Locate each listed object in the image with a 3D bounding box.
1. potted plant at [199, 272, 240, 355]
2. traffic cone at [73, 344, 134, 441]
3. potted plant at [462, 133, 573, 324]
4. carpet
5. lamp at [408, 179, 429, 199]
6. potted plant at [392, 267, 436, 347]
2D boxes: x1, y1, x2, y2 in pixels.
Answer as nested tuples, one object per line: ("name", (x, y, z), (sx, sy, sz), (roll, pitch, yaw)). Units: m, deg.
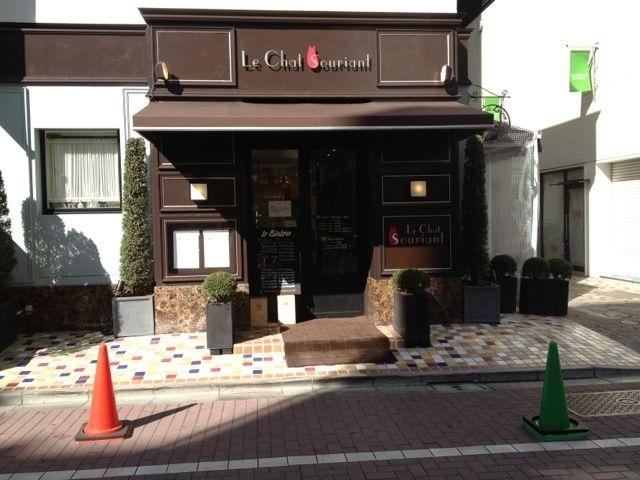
("potted plant", (-1.762, 1.294, 9.811), (0.557, 1.332, 0.476), (-3, 13, -12))
("traffic cone", (-2.977, 2.062, 7.863), (0.972, 1.490, 0.982), (1, -3, -20))
("potted plant", (4.204, -0.403, 12.317), (2.020, 3.877, 3.135), (4, 14, 18))
("carpet", (0.242, 1.665, 10.213), (1.895, 0.399, 1.910), (-2, 15, -5))
("lamp", (1.922, -1.045, 11.143), (0.323, 0.381, 0.084), (-3, 3, -5))
("potted plant", (1.669, 1.257, 10.254), (0.554, 1.319, 1.210), (-1, 2, -4))
